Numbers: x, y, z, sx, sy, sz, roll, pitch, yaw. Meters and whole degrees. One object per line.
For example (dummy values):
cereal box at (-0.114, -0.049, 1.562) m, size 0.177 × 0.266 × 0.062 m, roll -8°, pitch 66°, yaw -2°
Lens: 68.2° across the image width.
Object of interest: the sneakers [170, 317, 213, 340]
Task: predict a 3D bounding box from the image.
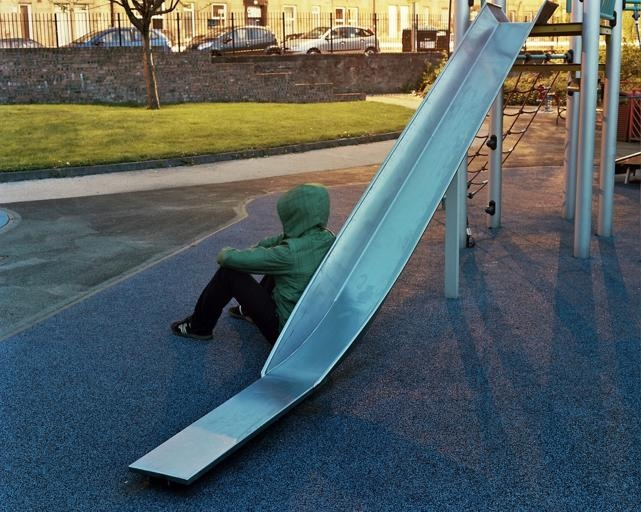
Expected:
sneakers at (-1.115, 0.614, 4.005) m, size 0.385 × 0.173 × 0.153 m, roll 14°, pitch 20°, yaw 20°

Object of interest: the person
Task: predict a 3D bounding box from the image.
person at (-0.432, 0.035, 3.837) m, size 1.127 × 1.189 × 0.985 m, roll 10°, pitch 7°, yaw 12°
